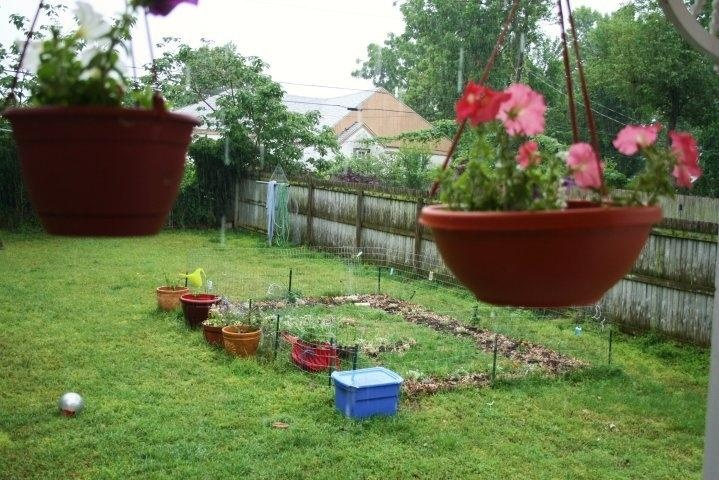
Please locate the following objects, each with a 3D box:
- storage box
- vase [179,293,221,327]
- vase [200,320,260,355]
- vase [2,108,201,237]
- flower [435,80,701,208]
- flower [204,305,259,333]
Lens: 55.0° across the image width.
[{"bbox_3d":[0.062,1.511,6.781,0.517,0.295,0.473,1,0,-21],"label":"storage box"},{"bbox_3d":[-2.014,0.925,8.875,0.485,0.377,0.512,8,8,38],"label":"vase"},{"bbox_3d":[-1.404,1.145,7.883,0.410,0.220,0.421,1,2,-22],"label":"vase"},{"bbox_3d":[-1.553,-0.324,4.234,0.807,0.536,0.836,-1,4,-15],"label":"vase"},{"bbox_3d":[1.273,-0.451,4.358,1.494,0.719,0.761,6,-1,-1],"label":"flower"},{"bbox_3d":[-1.588,0.943,8.420,0.373,0.245,0.394,5,2,37],"label":"flower"}]
